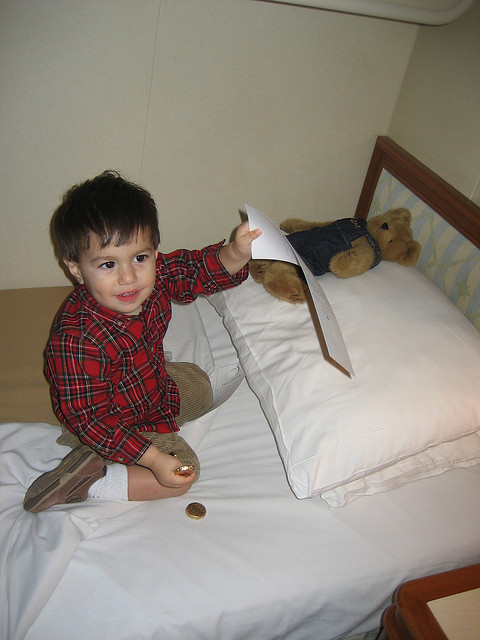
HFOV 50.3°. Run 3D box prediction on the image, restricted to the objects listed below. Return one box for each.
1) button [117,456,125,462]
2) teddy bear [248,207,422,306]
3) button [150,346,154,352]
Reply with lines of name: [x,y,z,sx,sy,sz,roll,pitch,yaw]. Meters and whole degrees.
button: [-0.220,0.258,0.954,0.010,0.009,0.003,30,12,-2]
teddy bear: [0.246,-0.192,1.374,0.464,0.142,0.287,-12,43,-5]
button: [-0.182,0.059,1.065,0.003,0.009,0.009,6,1,22]
